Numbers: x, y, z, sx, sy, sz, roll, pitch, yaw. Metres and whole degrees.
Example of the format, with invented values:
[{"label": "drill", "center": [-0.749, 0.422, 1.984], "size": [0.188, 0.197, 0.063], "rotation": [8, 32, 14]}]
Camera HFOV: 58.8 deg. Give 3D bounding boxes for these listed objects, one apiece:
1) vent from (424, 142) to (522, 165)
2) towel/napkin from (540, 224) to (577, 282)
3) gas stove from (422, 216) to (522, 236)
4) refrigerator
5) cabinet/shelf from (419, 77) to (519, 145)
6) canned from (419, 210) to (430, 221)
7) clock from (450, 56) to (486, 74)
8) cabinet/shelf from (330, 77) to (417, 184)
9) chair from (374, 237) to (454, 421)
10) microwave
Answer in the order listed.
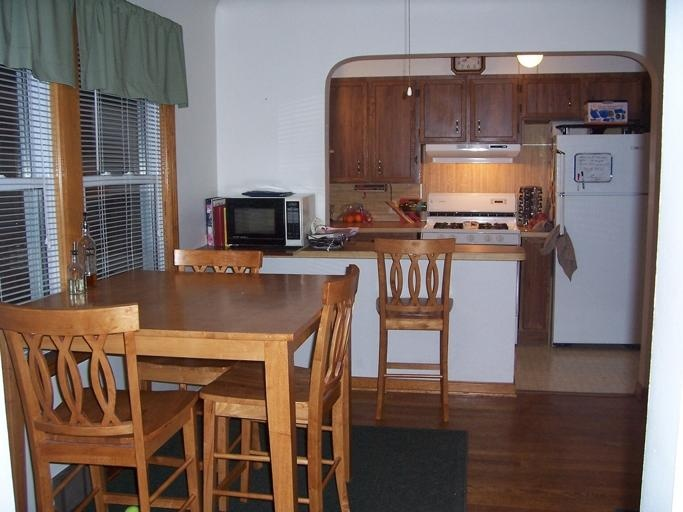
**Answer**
[{"label": "vent", "center": [1.373, -1.079, 6.410], "size": [1.008, 0.244, 0.500], "rotation": [5, 13, 15]}, {"label": "towel/napkin", "center": [1.882, -0.015, 5.235], "size": [0.239, 0.513, 0.176], "rotation": [-11, 37, 8]}, {"label": "gas stove", "center": [1.337, -0.313, 6.254], "size": [0.955, 0.104, 0.882], "rotation": [4, 13, 12]}, {"label": "refrigerator", "center": [2.221, -0.136, 5.227], "size": [0.782, 1.809, 0.358], "rotation": [4, 13, 10]}, {"label": "cabinet/shelf", "center": [1.342, -1.480, 6.178], "size": [1.128, 0.795, 0.620], "rotation": [0, 3, 6]}, {"label": "canned", "center": [0.924, -0.451, 6.761], "size": [0.095, 0.181, 0.098], "rotation": [1, 9, -2]}, {"label": "clock", "center": [1.286, -1.929, 6.144], "size": [0.349, 0.162, 0.194], "rotation": [3, 13, 10]}, {"label": "cabinet/shelf", "center": [0.353, -1.344, 6.278], "size": [0.986, 1.022, 0.372], "rotation": [0, 9, 6]}, {"label": "chair", "center": [0.481, 0.414, 3.999], "size": [0.526, 1.194, 0.691], "rotation": [3, 12, 7]}, {"label": "microwave", "center": [-0.550, -0.247, 4.490], "size": [0.519, 0.345, 0.405], "rotation": [1, 9, 8]}]
